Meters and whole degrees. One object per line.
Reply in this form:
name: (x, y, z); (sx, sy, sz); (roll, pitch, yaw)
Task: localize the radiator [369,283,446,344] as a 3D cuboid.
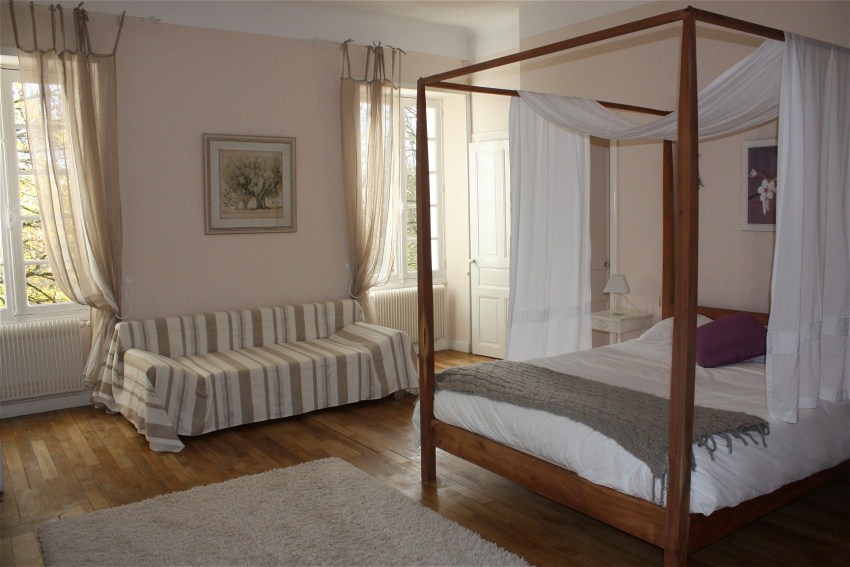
radiator: (-0.189, 0.426, 7.911); (1.001, 0.632, 0.133); (-1, 3, -22)

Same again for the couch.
couch: (-1.721, 0.823, 6.182); (2.762, 0.979, 1.292); (-9, 15, -32)

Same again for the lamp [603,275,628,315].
lamp: (2.022, 0.131, 6.448); (0.348, 0.401, 0.335); (-2, 4, -43)

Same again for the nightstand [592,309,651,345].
nightstand: (2.085, 0.416, 6.434); (0.462, 0.463, 0.456); (-10, 15, -36)
